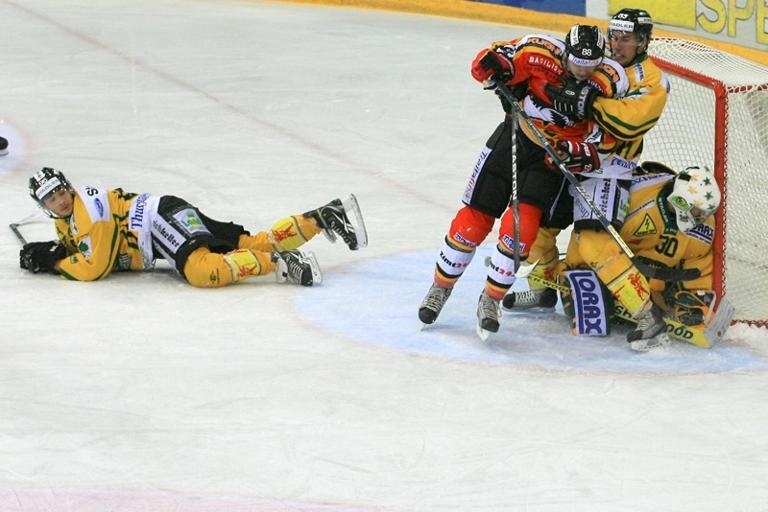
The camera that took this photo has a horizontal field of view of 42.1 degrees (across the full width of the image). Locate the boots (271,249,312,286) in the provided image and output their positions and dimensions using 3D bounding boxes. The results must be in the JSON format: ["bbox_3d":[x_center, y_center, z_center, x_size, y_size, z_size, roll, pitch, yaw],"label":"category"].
[{"bbox_3d":[-0.535,0.076,6.648,0.426,0.125,0.178,7,-28,26],"label":"boots"}]

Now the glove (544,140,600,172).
[{"bbox_3d":[1.116,-0.571,5.821,0.290,0.190,0.128,7,15,9],"label":"glove"}]

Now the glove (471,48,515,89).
[{"bbox_3d":[0.633,-1.117,6.014,0.290,0.189,0.279,-2,7,-8],"label":"glove"}]

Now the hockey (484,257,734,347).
[{"bbox_3d":[1.516,0.347,6.014,0.938,0.142,0.486,22,-3,23],"label":"hockey"}]

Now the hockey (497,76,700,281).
[{"bbox_3d":[1.100,-0.512,5.920,1.261,0.496,0.047,51,24,12],"label":"hockey"}]

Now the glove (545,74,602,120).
[{"bbox_3d":[1.078,-0.903,5.760,0.316,0.234,0.172,6,15,6],"label":"glove"}]

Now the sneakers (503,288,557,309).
[{"bbox_3d":[0.935,0.282,6.412,0.400,0.148,0.123,0,48,5],"label":"sneakers"}]

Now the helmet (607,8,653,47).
[{"bbox_3d":[1.470,-1.362,5.880,0.260,0.211,0.200,5,-5,-31],"label":"helmet"}]

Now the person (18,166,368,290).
[{"bbox_3d":[-1.440,-0.116,6.858,2.777,0.697,0.853,4,1,-2],"label":"person"}]

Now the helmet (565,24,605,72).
[{"bbox_3d":[1.137,-1.188,5.655,0.228,0.233,0.205,7,15,8],"label":"helmet"}]

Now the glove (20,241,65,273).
[{"bbox_3d":[-2.257,0.002,6.619,0.249,0.095,0.246,25,32,30],"label":"glove"}]

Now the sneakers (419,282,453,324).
[{"bbox_3d":[0.302,0.300,6.105,0.123,0.132,0.339,30,42,1],"label":"sneakers"}]
